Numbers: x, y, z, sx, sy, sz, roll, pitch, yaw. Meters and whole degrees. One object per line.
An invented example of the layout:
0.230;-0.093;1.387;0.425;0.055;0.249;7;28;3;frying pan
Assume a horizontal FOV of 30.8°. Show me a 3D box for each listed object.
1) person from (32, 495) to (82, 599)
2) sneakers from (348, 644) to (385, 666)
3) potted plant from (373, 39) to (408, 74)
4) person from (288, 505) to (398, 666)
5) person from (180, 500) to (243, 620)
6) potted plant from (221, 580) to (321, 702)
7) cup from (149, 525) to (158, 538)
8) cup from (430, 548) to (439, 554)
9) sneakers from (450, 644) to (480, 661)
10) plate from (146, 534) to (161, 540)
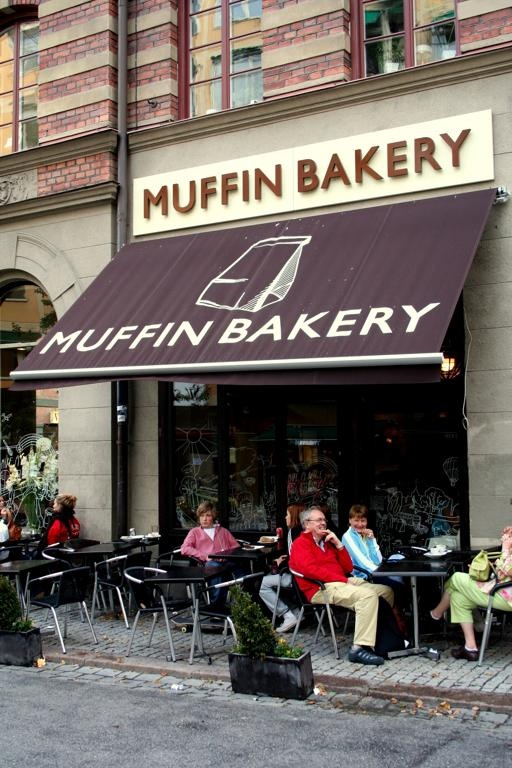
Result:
-2.429;1.800;11.493;0.526;0.956;0.437;15;22;27;person
0.951;2.326;7.979;0.312;0.145;0.118;0;2;17;sneakers
1.552;-3.821;10.799;0.369;0.415;0.160;-2;-2;17;potted plant
0.785;1.804;8.550;1.021;1.288;0.791;1;-7;12;person
-0.451;1.848;9.886;0.609;1.099;0.585;-2;-8;-10;person
0.124;2.176;7.827;0.943;1.253;0.461;0;2;28;potted plant
-1.275;1.844;11.667;0.112;0.188;0.110;0;-6;0;cup
1.723;1.607;8.960;0.060;0.045;0.060;0;-7;0;cup
1.821;2.343;8.094;0.247;0.102;0.096;2;-1;45;sneakers
-1.244;1.841;11.189;0.117;0.040;0.126;0;1;1;plate
